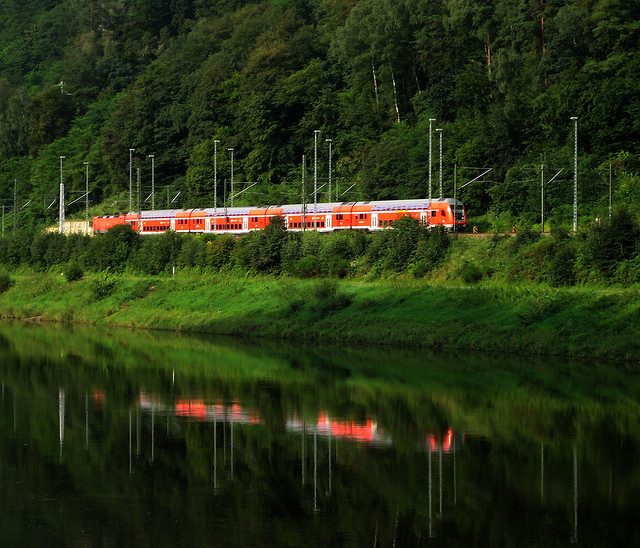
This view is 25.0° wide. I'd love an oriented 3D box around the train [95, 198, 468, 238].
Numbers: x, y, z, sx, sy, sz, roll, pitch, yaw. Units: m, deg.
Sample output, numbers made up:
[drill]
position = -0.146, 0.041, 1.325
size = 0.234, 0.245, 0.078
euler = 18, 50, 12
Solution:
[train]
position = -2.923, -5.733, 143.847
size = 38.936, 4.586, 3.692
euler = 2, 10, 40
